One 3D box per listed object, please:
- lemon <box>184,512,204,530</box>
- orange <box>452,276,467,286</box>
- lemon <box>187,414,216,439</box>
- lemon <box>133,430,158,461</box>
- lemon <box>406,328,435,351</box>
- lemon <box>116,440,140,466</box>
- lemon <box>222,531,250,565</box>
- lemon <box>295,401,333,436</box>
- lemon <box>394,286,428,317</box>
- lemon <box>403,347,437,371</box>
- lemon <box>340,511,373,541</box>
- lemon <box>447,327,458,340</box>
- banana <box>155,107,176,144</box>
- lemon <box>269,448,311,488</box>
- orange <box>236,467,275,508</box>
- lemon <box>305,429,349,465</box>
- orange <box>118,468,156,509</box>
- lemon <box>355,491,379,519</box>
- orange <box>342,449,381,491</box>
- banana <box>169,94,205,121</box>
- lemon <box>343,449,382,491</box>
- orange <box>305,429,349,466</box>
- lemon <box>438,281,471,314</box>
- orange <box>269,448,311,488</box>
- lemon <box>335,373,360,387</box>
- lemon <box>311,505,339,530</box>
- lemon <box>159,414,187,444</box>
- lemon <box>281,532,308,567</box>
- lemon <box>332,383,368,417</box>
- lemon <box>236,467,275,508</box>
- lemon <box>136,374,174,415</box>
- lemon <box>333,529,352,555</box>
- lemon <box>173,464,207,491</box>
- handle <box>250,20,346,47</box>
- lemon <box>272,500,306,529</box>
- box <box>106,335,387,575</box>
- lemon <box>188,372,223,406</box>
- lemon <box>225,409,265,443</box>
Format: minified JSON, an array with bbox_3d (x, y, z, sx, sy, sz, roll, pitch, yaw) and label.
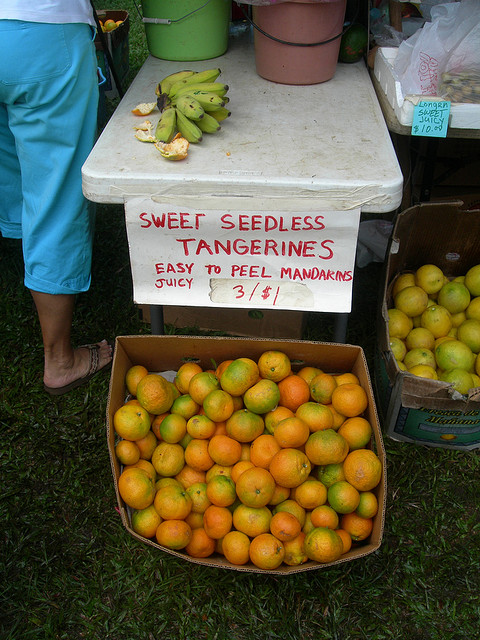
[{"bbox_3d":[-0.124,0.542,1.396,0.045,0.053,0.045,39,68,14],"label":"lemon"},{"bbox_3d":[0.851,-0.150,2.005,0.040,0.041,0.042,5,21,-6],"label":"orange"},{"bbox_3d":[-0.113,0.306,1.466,0.068,0.067,0.063,17,77,-24],"label":"lemon"},{"bbox_3d":[-0.278,0.375,1.528,0.078,0.091,0.077,1,7,7],"label":"lemon"},{"bbox_3d":[0.624,0.065,1.825,0.082,0.079,0.096,-11,25,9],"label":"lemon"},{"bbox_3d":[-0.318,0.370,1.445,0.056,0.054,0.069,9,44,-44],"label":"lemon"},{"bbox_3d":[-0.010,0.560,1.271,0.076,0.069,0.091,-2,55,-9],"label":"lemon"},{"bbox_3d":[0.204,0.279,1.440,0.090,0.086,0.081,0,68,-2],"label":"lemon"},{"bbox_3d":[0.629,-0.067,1.959,0.112,0.133,0.109,2,46,39],"label":"lemon"},{"bbox_3d":[0.605,0.129,1.743,0.078,0.091,0.079,24,62,37],"label":"lemon"},{"bbox_3d":[0.291,0.524,1.348,0.078,0.074,0.090,-3,14,0],"label":"lemon"},{"bbox_3d":[0.781,0.047,1.895,0.037,0.036,0.044,-11,9,13],"label":"lemon"},{"bbox_3d":[-0.198,-0.523,1.390,0.040,0.039,0.120,-5,49,8],"label":"banana"},{"bbox_3d":[0.128,0.387,1.337,0.099,0.065,0.164,4,32,9],"label":"lemon"},{"bbox_3d":[0.037,0.419,1.338,0.098,0.093,0.102,17,18,-11],"label":"orange"},{"bbox_3d":[0.230,0.341,1.383,0.113,0.096,0.082,7,45,12],"label":"lemon"},{"bbox_3d":[-0.278,0.445,1.367,0.086,0.080,0.101,-32,50,-25],"label":"orange"},{"bbox_3d":[0.325,0.478,1.326,0.051,0.049,0.063,28,36,-24],"label":"lemon"},{"bbox_3d":[0.317,0.389,1.345,0.087,0.058,0.089,9,46,14],"label":"orange"},{"bbox_3d":[-0.153,-0.580,1.439,0.101,0.048,0.039,46,24,29],"label":"banana"},{"bbox_3d":[0.318,0.385,1.382,0.103,0.095,0.099,-11,15,-20],"label":"lemon"},{"bbox_3d":[0.223,0.335,1.360,0.101,0.086,0.096,-2,3,-16],"label":"orange"},{"bbox_3d":[0.781,-0.084,1.936,0.119,0.106,0.112,-25,15,-26],"label":"lemon"},{"bbox_3d":[0.134,0.401,1.359,0.101,0.099,0.117,22,50,-26],"label":"orange"},{"bbox_3d":[0.325,0.181,1.568,0.043,0.048,0.041,-14,18,-25],"label":"lemon"},{"bbox_3d":[0.205,0.493,1.295,0.054,0.051,0.053,-1,21,11],"label":"lemon"},{"bbox_3d":[-0.192,0.313,1.489,0.080,0.079,0.093,-4,57,-1],"label":"lemon"},{"bbox_3d":[0.134,0.570,1.269,0.070,0.072,0.086,-3,12,2],"label":"lemon"},{"bbox_3d":[0.312,0.228,1.511,0.092,0.090,0.088,-19,78,9],"label":"lemon"},{"bbox_3d":[0.038,0.418,1.336,0.102,0.091,0.099,16,11,0],"label":"lemon"},{"bbox_3d":[-0.253,0.225,1.517,0.075,0.088,0.069,-32,28,-16],"label":"lemon"},{"bbox_3d":[0.267,0.563,1.311,0.052,0.051,0.061,-3,73,-4],"label":"lemon"},{"bbox_3d":[-0.145,0.447,1.471,0.068,0.065,0.080,2,42,-10],"label":"lemon"},{"bbox_3d":[0.178,-0.901,1.634,0.294,0.059,0.109,4,44,9],"label":"handle"},{"bbox_3d":[0.123,0.506,1.366,0.070,0.068,0.067,20,63,1],"label":"lemon"},{"bbox_3d":[0.019,0.400,1.674,0.949,0.630,0.818,-1,37,1],"label":"box"},{"bbox_3d":[-0.111,0.200,1.568,0.096,0.095,0.108,21,84,5],"label":"lemon"},{"bbox_3d":[0.012,0.297,1.430,0.092,0.091,0.086,-5,66,3],"label":"lemon"}]
